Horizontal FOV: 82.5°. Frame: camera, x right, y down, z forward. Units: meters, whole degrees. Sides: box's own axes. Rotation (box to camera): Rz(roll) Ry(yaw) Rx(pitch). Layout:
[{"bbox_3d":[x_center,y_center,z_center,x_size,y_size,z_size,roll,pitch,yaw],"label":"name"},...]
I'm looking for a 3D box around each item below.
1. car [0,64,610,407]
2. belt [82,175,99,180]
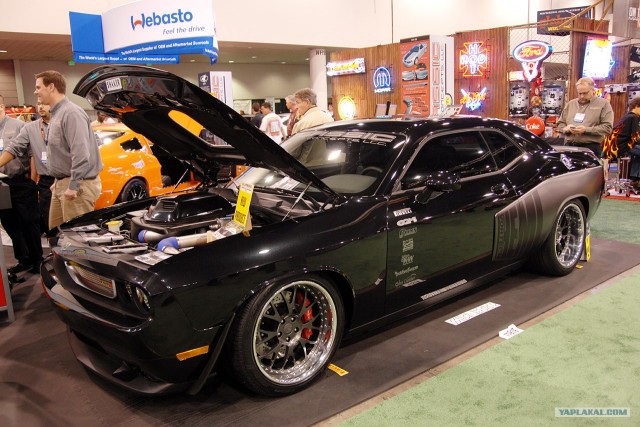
[{"bbox_3d":[0.383,-0.044,3.773,5.252,1.681,2.318,-7,12,-28],"label":"car"},{"bbox_3d":[-2.567,-0.402,4.071,0.091,0.022,0.079,-16,7,-17],"label":"belt"}]
